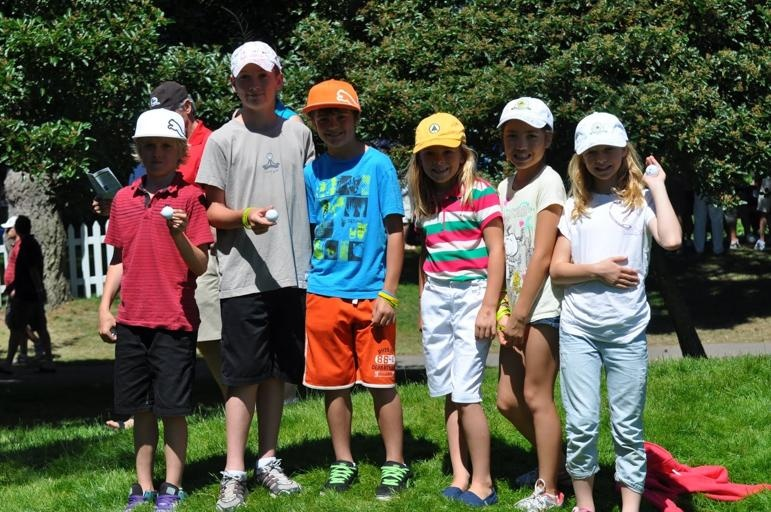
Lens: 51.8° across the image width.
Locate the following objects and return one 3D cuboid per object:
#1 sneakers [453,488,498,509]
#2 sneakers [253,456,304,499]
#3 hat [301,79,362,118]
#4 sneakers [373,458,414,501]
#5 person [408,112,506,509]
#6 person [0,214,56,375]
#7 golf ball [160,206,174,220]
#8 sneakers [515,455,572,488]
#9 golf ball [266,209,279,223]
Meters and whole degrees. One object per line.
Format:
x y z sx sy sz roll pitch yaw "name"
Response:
0.737 1.931 6.306 0.272 0.075 0.129 7 -4 -15 "sneakers"
-0.903 1.815 6.522 0.191 0.223 0.474 -14 20 -42 "sneakers"
-0.448 -1.332 6.539 0.454 0.269 0.248 -2 -1 -6 "hat"
0.065 1.834 6.526 0.255 0.269 0.357 -2 -1 9 "sneakers"
0.592 0.401 6.491 0.790 3.172 0.390 -2 -2 10 "person"
-5.728 0.576 12.694 0.688 2.469 0.956 -1 -2 -26 "person"
-1.692 -0.344 6.195 0.098 0.099 0.114 -14 44 -11 "golf ball"
1.314 1.828 6.663 0.561 0.225 0.192 -2 1 -17 "sneakers"
-0.897 -0.319 6.250 0.094 0.108 0.136 -2 -1 -10 "golf ball"
